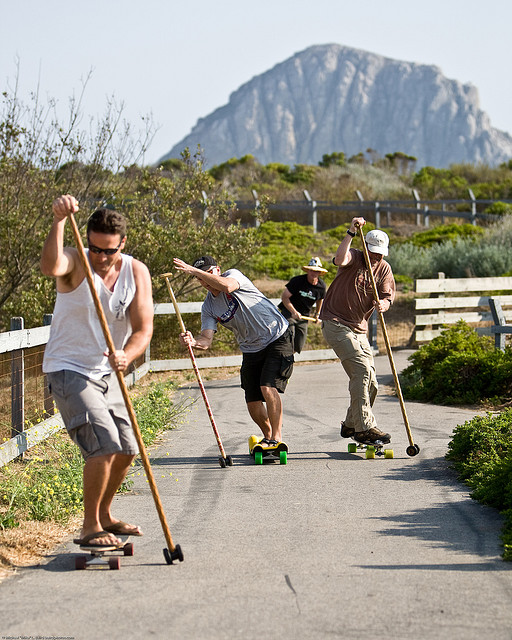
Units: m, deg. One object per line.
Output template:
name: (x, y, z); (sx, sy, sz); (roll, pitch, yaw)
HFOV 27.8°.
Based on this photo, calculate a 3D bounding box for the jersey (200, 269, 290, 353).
jersey: (-0.087, -0.054, 8.600); (0.711, 0.673, 0.377); (-1, 4, -6)

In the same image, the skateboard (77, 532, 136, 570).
skateboard: (-0.848, 1.302, 5.987); (0.268, 0.112, 0.547); (0, 5, 3)

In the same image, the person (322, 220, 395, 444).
person: (0.932, 0.111, 9.014); (0.570, 1.926, 0.766); (-2, 5, -22)

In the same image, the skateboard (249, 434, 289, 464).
skateboard: (0.106, 1.074, 8.683); (0.287, 0.169, 0.452); (-1, 5, -6)

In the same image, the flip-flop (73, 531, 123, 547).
flip-flop: (-0.887, 1.215, 5.811); (0.261, 0.080, 0.089); (3, 8, 0)

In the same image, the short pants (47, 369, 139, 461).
short pants: (-0.917, 0.523, 5.909); (0.505, 0.510, 0.387); (-2, 5, -19)

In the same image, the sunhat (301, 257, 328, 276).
sunhat: (0.766, -0.751, 13.391); (0.284, 0.153, 0.291); (8, -8, 2)

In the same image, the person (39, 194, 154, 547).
person: (-0.904, 0.317, 5.949); (0.636, 2.020, 0.655); (-1, 4, -10)

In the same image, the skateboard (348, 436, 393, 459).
skateboard: (0.987, 1.065, 8.856); (0.318, 0.150, 0.509); (-1, 5, -15)

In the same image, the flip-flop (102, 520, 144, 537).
flip-flop: (-0.799, 1.249, 6.248); (0.242, 0.075, 0.086); (8, -2, -5)
